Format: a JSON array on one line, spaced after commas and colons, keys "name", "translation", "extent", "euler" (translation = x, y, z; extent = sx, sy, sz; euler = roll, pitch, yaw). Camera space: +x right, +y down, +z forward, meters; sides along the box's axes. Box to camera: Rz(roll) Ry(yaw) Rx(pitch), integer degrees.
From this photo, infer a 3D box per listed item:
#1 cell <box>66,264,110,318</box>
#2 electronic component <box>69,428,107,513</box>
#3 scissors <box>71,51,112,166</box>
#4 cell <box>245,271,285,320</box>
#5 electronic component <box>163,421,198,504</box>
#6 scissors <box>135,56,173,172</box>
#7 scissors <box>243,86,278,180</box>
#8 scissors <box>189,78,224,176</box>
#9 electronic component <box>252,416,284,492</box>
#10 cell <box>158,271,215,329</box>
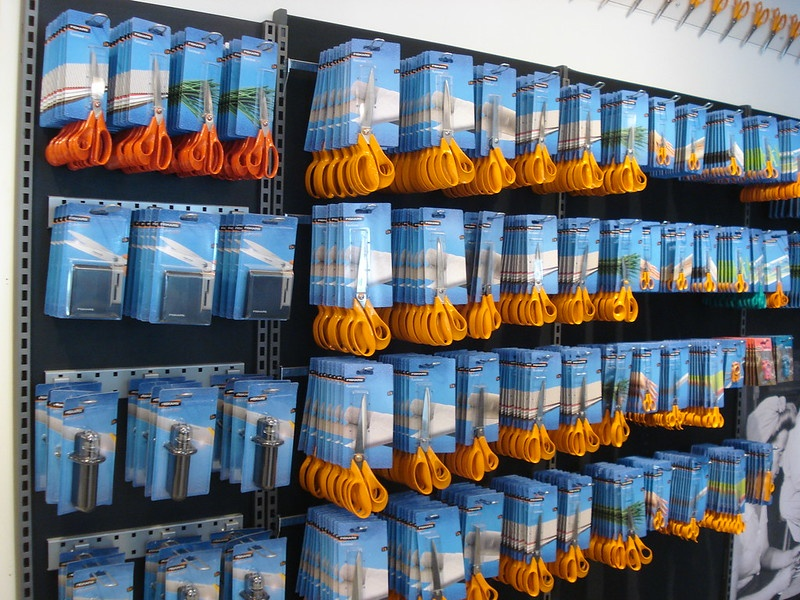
[{"name": "cell", "translation": [-1.181, -0.034, 3.213], "extent": [0.198, 0.242, 0.026], "euler": [5, -2, -32]}, {"name": "electronic component", "translation": [-1.184, 0.647, 3.237], "extent": [0.128, 0.299, 0.104], "euler": [-1, -3, -20]}, {"name": "scissors", "translation": [-1.189, -0.717, 3.278], "extent": [0.151, 0.403, 0.238], "euler": [-1, -3, -21]}, {"name": "cell", "translation": [-0.547, -0.026, 3.487], "extent": [0.202, 0.184, 0.108], "euler": [2, 5, -33]}, {"name": "electronic component", "translation": [-0.856, 0.628, 3.322], "extent": [0.116, 0.287, 0.049], "euler": [-2, -2, -2]}, {"name": "scissors", "translation": [-0.948, -0.706, 3.312], "extent": [0.123, 0.403, 0.190], "euler": [-1, -2, -15]}, {"name": "scissors", "translation": [-0.562, -0.676, 3.485], "extent": [0.099, 0.343, 0.145], "euler": [-2, -2, 6]}, {"name": "scissors", "translation": [-0.750, -0.681, 3.361], "extent": [0.138, 0.345, 0.037], "euler": [-6, -11, 21]}, {"name": "electronic component", "translation": [-0.532, 0.618, 3.454], "extent": [0.125, 0.290, 0.079], "euler": [-1, -3, -10]}, {"name": "cell", "translation": [-0.829, -0.011, 3.297], "extent": [0.219, 0.202, 0.082], "euler": [2, 4, -33]}]
